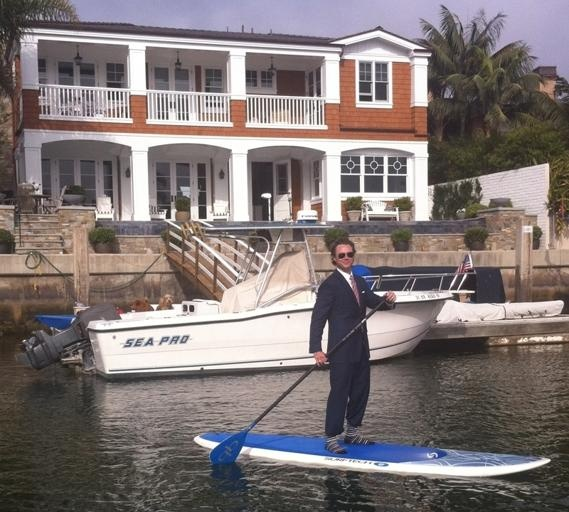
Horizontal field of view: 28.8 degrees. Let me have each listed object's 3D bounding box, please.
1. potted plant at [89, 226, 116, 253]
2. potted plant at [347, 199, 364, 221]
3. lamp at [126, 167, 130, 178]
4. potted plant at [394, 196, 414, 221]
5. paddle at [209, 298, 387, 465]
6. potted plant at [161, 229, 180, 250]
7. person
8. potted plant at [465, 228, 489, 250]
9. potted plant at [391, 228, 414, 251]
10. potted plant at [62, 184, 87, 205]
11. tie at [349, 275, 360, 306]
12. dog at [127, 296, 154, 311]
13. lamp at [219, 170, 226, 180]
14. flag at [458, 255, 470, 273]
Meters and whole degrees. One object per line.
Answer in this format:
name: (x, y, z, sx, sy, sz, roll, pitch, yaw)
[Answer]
potted plant: (-5.166, -0.436, 31.545, 0.757, 0.726, 0.711, -1, -1, -12)
potted plant: (2.360, -1.524, 37.308, 0.715, 0.788, 0.664, 1, 4, 16)
lamp: (-5.312, -2.765, 37.540, 0.161, 0.320, 0.190, -3, 14, -6)
potted plant: (4.107, -1.554, 37.863, 0.871, 0.931, 0.744, -1, -2, -1)
paddle: (0.172, 2.440, 20.779, 4.638, 0.496, 0.111, -36, 13, -7)
potted plant: (-3.335, -0.465, 31.530, 0.678, 0.292, 0.463, 17, 28, 42)
person: (1.035, 1.648, 18.545, 1.105, 3.751, 1.219, 6, 16, 25)
potted plant: (6.090, -0.519, 34.986, 0.754, 0.740, 0.707, -2, 7, -22)
potted plant: (3.728, -0.439, 34.418, 0.699, 0.803, 0.756, -3, 5, -22)
potted plant: (-6.390, -1.788, 33.829, 0.882, 0.555, 0.795, 2, 4, -15)
tie: (1.175, 0.551, 18.577, 0.101, 0.639, 0.078, -12, -18, -3)
dog: (-3.204, 1.158, 24.899, 0.484, 0.202, 0.354, 5, -33, -7)
lamp: (-2.187, -2.792, 38.662, 0.228, 0.340, 0.145, -5, 15, -16)
flag: (4.570, 0.249, 28.238, 0.060, 0.455, 0.456, -4, -9, -34)
